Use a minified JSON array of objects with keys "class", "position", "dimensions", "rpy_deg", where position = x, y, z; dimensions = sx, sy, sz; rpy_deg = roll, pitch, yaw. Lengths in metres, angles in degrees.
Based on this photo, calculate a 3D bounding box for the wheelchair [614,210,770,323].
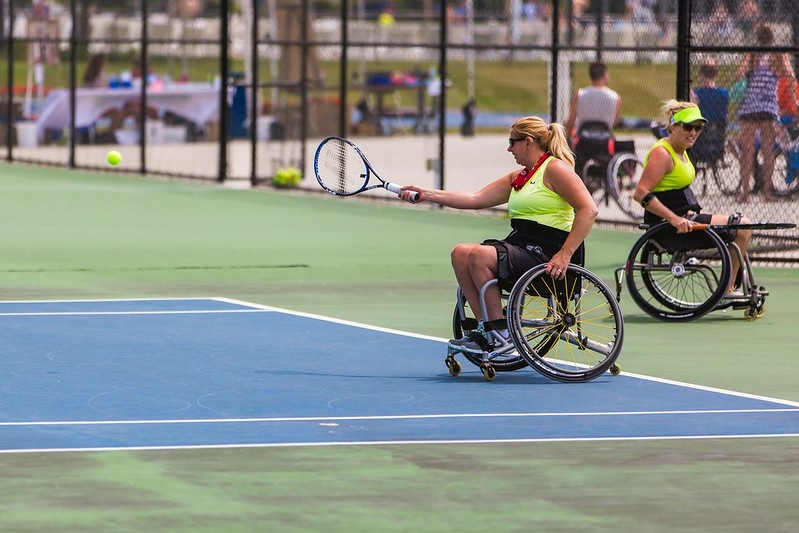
[{"class":"wheelchair","position":[2.584,0.076,12.038],"dimensions":[1.649,1.268,0.915],"rpy_deg":[-1,-1,24]}]

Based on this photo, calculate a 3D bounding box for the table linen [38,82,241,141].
[{"class":"table linen","position":[-4.909,-2.814,22.550],"dimensions":[1.040,0.809,4.621],"rpy_deg":[-3,5,-42]}]

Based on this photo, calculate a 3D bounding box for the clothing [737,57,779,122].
[{"class":"clothing","position":[4.879,-2.433,17.289],"dimensions":[0.511,0.865,0.370],"rpy_deg":[1,4,12]}]

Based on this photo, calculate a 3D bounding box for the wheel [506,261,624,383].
[{"class":"wheel","position":[1.318,0.382,10.066],"dimensions":[0.827,0.874,1.865],"rpy_deg":[1,3,8]}]

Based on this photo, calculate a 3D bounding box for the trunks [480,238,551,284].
[{"class":"trunks","position":[0.853,-0.031,9.387],"dimensions":[0.467,0.160,0.284],"rpy_deg":[9,1,-19]}]

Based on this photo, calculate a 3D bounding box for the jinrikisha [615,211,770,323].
[{"class":"jinrikisha","position":[2.758,-0.209,11.752],"dimensions":[1.740,1.361,1.008],"rpy_deg":[2,4,19]}]

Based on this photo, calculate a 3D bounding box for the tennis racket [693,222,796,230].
[{"class":"tennis racket","position":[3.067,-0.362,11.446],"dimensions":[0.930,0.061,0.113],"rpy_deg":[0,34,18]}]

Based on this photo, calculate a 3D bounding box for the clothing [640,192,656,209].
[{"class":"clothing","position":[2.233,-0.595,11.443],"dimensions":[0.052,0.127,0.108],"rpy_deg":[19,1,22]}]

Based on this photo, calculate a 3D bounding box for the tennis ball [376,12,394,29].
[{"class":"tennis ball","position":[-0.194,-3.780,19.366],"dimensions":[0.199,0.107,0.188],"rpy_deg":[0,-33,0]}]

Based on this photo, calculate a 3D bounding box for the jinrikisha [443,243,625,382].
[{"class":"jinrikisha","position":[1.120,0.201,9.663],"dimensions":[1.429,1.305,1.003],"rpy_deg":[4,-6,-23]}]

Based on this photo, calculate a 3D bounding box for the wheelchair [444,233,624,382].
[{"class":"wheelchair","position":[0.996,0.179,9.694],"dimensions":[1.357,1.271,1.339],"rpy_deg":[1,-3,18]}]

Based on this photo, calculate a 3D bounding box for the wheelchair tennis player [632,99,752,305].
[{"class":"wheelchair tennis player","position":[2.548,-0.892,11.463],"dimensions":[0.826,1.227,0.541],"rpy_deg":[1,4,12]}]

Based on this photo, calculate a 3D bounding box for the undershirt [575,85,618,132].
[{"class":"undershirt","position":[2.755,-2.209,17.854],"dimensions":[0.627,0.685,0.398],"rpy_deg":[6,17,14]}]

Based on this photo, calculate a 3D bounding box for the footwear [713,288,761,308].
[{"class":"footwear","position":[3.074,0.311,11.487],"dimensions":[0.343,0.155,0.208],"rpy_deg":[-2,4,5]}]

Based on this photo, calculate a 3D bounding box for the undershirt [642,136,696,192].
[{"class":"undershirt","position":[2.407,-0.956,11.598],"dimensions":[0.509,0.474,0.532],"rpy_deg":[-5,8,11]}]
